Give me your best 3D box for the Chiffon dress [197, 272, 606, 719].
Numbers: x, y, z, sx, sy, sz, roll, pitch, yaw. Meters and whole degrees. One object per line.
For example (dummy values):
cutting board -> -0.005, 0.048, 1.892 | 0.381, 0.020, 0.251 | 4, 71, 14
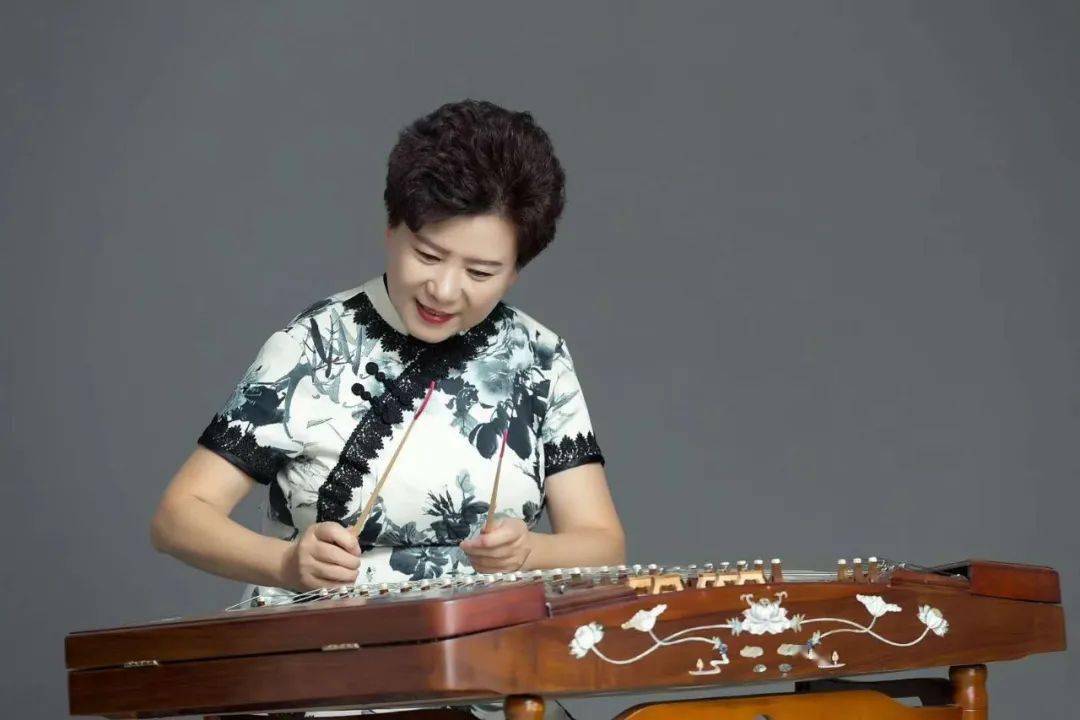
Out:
Chiffon dress -> -0.267, 0.278, 2.428 | 0.832, 0.855, 0.431 | 21, -3, -15

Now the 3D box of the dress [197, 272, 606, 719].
dress -> -0.267, 0.278, 2.428 | 0.832, 0.855, 0.431 | 21, -3, -15
